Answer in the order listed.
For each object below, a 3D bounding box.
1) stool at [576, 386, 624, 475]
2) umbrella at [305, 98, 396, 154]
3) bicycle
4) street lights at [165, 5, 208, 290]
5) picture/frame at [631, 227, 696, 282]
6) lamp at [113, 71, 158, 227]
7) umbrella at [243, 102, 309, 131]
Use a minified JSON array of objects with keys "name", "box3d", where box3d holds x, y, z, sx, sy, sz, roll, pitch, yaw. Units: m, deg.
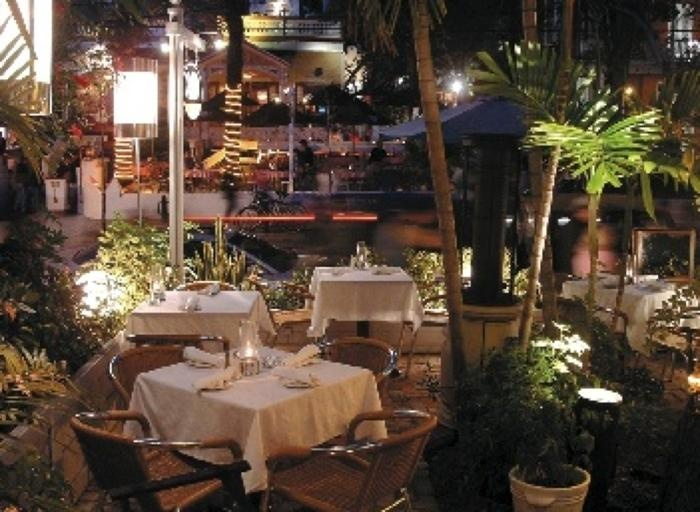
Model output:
[{"name":"stool","box3d":[1.912,1.291,5.763,0.292,0.822,0.350,-2,13,-34]},{"name":"umbrella","box3d":[-0.203,-4.365,22.138,2.309,1.381,2.590,5,10,13]},{"name":"bicycle","box3d":[-2.419,-1.493,23.950,2.569,1.186,0.852,-4,9,-34]},{"name":"street lights","box3d":[-2.039,-1.122,8.658,0.399,3.409,0.330,8,17,38]},{"name":"picture/frame","box3d":[4.173,-0.022,9.893,0.807,0.690,0.320,2,7,12]},{"name":"lamp","box3d":[-2.706,-1.411,9.301,0.490,2.658,0.625,0,11,-10]},{"name":"umbrella","box3d":[-2.091,-4.085,22.406,2.127,0.931,0.995,6,14,22]}]
